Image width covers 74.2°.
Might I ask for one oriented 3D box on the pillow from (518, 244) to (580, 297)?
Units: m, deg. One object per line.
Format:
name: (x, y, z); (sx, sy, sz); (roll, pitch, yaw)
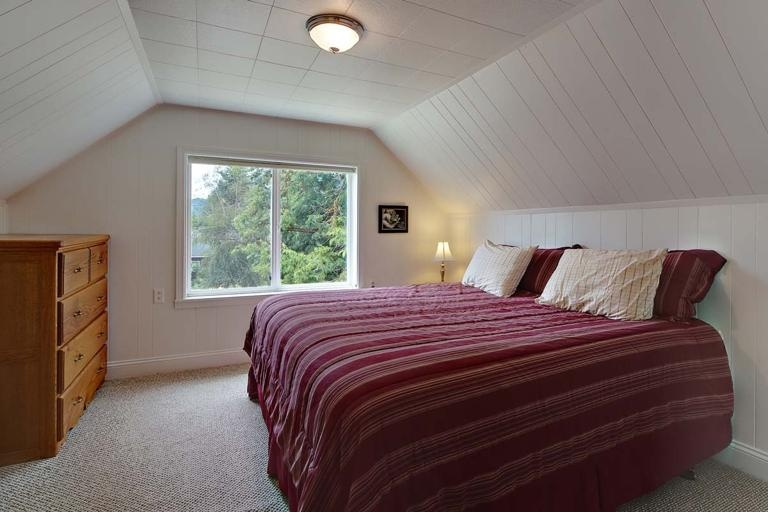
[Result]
pillow: (1.409, 0.170, 4.285); (0.149, 0.518, 0.360); (29, -7, -22)

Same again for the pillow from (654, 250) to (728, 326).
pillow: (2.074, 0.202, 3.469); (0.466, 0.477, 0.141); (8, -13, 31)

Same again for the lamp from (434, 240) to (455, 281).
lamp: (0.658, 0.068, 5.650); (0.192, 0.456, 0.409); (3, 3, 6)

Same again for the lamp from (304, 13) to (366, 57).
lamp: (-0.339, -1.493, 3.496); (0.413, 0.154, 0.417); (5, 1, -40)

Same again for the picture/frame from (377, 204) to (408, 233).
picture/frame: (0.075, -0.411, 5.512); (0.310, 0.280, 0.030); (1, -1, -26)
